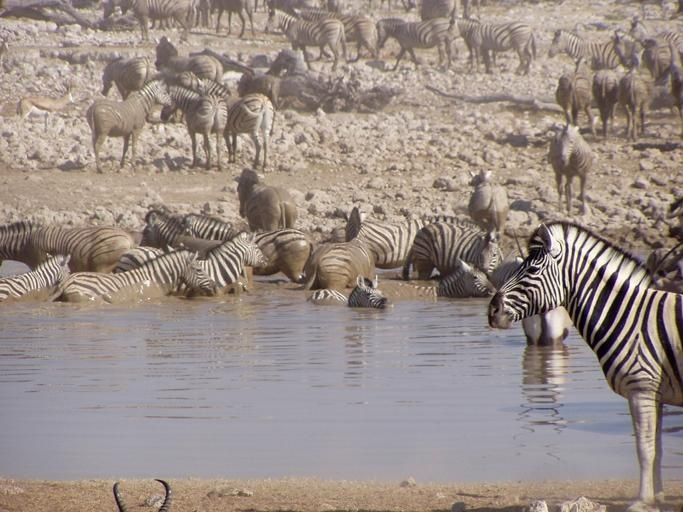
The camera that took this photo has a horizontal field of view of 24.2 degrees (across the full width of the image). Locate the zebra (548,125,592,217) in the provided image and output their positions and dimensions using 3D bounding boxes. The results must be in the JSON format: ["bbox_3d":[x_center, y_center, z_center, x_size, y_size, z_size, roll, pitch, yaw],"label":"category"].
[{"bbox_3d":[4.215,-1.687,29.406,0.715,2.198,0.664,5,10,26],"label":"zebra"}]

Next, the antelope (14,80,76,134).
[{"bbox_3d":[-6.362,-3.339,35.642,1.862,1.485,0.537,-2,5,-33],"label":"antelope"}]
